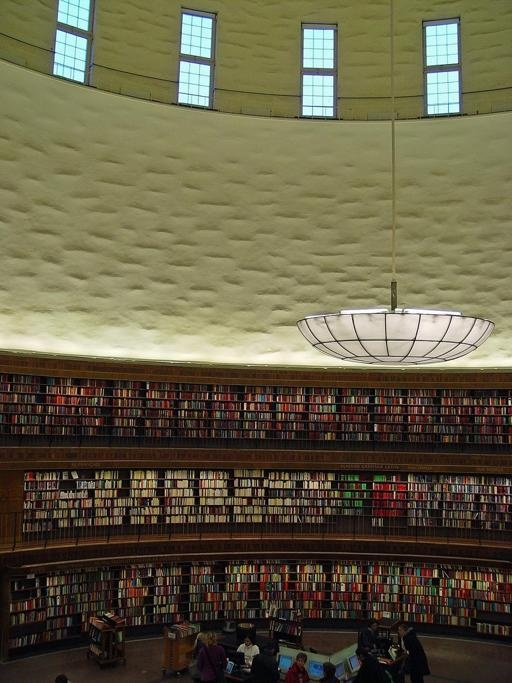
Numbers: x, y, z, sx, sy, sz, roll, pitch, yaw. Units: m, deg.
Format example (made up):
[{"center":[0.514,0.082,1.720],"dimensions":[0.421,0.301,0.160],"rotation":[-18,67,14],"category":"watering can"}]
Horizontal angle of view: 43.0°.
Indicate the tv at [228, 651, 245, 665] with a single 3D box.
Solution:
[{"center":[-0.223,3.681,7.570],"dimensions":[0.152,0.138,0.049],"rotation":[4,-9,31],"category":"tv"}]
